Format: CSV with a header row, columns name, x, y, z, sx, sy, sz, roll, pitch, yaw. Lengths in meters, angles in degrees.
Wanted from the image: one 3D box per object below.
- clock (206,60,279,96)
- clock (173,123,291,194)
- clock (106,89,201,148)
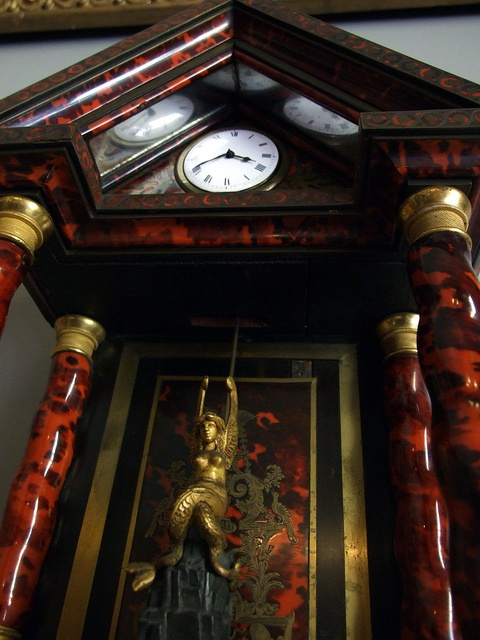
name,x,y,z,sx,sy,sz,roll,pitch,yaw
clock,0.011,-1.074,2.317,0.206,0.040,0.192,1,6,-14
clock,-0.042,-0.641,2.121,0.385,0.370,0.073,11,-37,15
clock,-0.357,-0.832,2.224,0.306,0.292,0.029,-16,-50,-6
